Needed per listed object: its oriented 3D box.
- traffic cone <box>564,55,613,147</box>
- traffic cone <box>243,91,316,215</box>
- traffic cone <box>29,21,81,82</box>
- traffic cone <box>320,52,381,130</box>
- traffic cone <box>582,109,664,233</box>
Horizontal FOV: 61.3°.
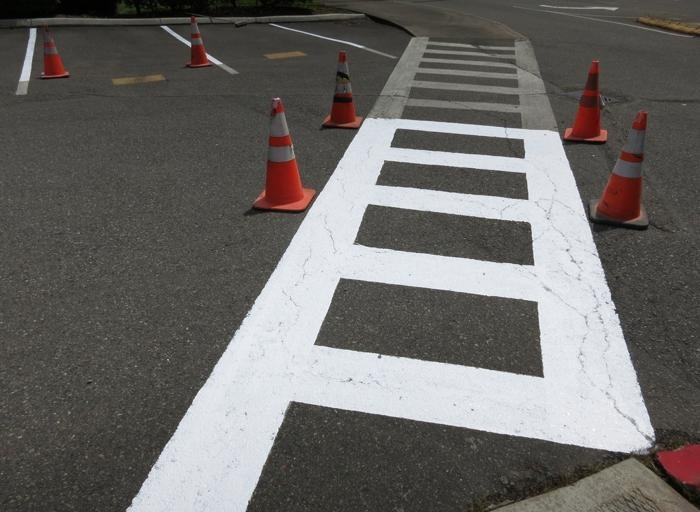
[{"bbox_3d":[3.274,-2.140,8.106,0.721,0.941,0.708,9,24,22],"label":"traffic cone"},{"bbox_3d":[-0.801,-1.236,6.761,0.928,1.145,0.941,14,27,34],"label":"traffic cone"},{"bbox_3d":[-5.808,-3.959,11.366,0.810,0.881,0.850,13,29,21],"label":"traffic cone"},{"bbox_3d":[-0.101,-2.498,8.745,0.759,0.966,0.760,13,27,24],"label":"traffic cone"},{"bbox_3d":[2.980,-0.949,6.302,0.707,1.076,0.711,6,28,10],"label":"traffic cone"}]
